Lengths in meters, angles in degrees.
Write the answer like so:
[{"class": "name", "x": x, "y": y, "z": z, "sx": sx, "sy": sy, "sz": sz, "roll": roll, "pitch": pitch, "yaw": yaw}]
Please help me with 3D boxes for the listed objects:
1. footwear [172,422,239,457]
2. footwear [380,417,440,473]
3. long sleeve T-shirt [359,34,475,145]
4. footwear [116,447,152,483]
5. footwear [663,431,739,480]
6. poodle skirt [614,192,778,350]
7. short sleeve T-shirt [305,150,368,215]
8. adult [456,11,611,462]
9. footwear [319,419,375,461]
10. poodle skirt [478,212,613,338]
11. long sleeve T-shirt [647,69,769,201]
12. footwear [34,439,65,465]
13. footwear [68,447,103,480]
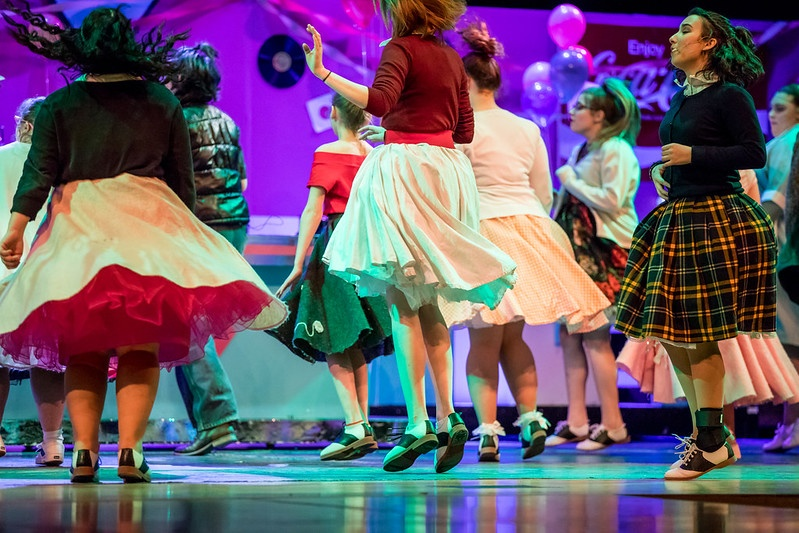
[{"class": "footwear", "x": -0.920, "y": 0.844, "z": 4.032, "sx": 0.358, "sy": 0.152, "sz": 0.116, "roll": -16, "pitch": -2, "yaw": -5}, {"class": "footwear", "x": 0.049, "y": 0.647, "z": 2.993, "sx": 0.107, "sy": 0.126, "sz": 0.283, "roll": 31, "pitch": -60, "yaw": -30}, {"class": "long sleeve T-shirt", "x": 0.078, "y": -0.703, "z": 3.210, "sx": 0.637, "sy": 0.409, "sz": 0.285, "roll": 4, "pitch": 0, "yaw": -45}, {"class": "footwear", "x": -0.886, "y": 0.671, "z": 2.743, "sx": 0.070, "sy": 0.084, "sz": 0.171, "roll": -3, "pitch": -14, "yaw": 8}, {"class": "footwear", "x": 1.100, "y": 0.712, "z": 3.019, "sx": 0.359, "sy": 0.156, "sz": 0.148, "roll": 9, "pitch": -19, "yaw": -35}, {"class": "poodle skirt", "x": 1.122, "y": 0.073, "z": 3.302, "sx": 0.648, "sy": 0.536, "sz": 0.602, "roll": 1, "pitch": -10, "yaw": -6}, {"class": "short sleeve T-shirt", "x": -0.286, "y": -0.402, "z": 3.896, "sx": 0.227, "sy": 0.276, "sz": 0.347, "roll": 8, "pitch": -1, "yaw": 32}, {"class": "adult", "x": 0.570, "y": -0.146, "z": 4.067, "sx": 0.917, "sy": 2.091, "sz": 0.923, "roll": -7, "pitch": -7, "yaw": 38}, {"class": "footwear", "x": -0.216, "y": 0.815, "z": 3.712, "sx": 0.266, "sy": 0.137, "sz": 0.137, "roll": -25, "pitch": -34, "yaw": 10}, {"class": "poodle skirt", "x": 0.674, "y": 0.034, "z": 3.873, "sx": 0.592, "sy": 0.308, "sz": 0.603, "roll": -5, "pitch": 2, "yaw": -10}, {"class": "long sleeve T-shirt", "x": 1.215, "y": -0.510, "z": 3.234, "sx": 0.307, "sy": 0.477, "sz": 0.508, "roll": -7, "pitch": 11, "yaw": -14}, {"class": "footwear", "x": -1.532, "y": 0.802, "z": 3.516, "sx": 0.069, "sy": 0.079, "sz": 0.182, "roll": 0, "pitch": -3, "yaw": -21}, {"class": "footwear", "x": -1.084, "y": 0.687, "z": 2.793, "sx": 0.091, "sy": 0.110, "sz": 0.150, "roll": 3, "pitch": -17, "yaw": -20}]
